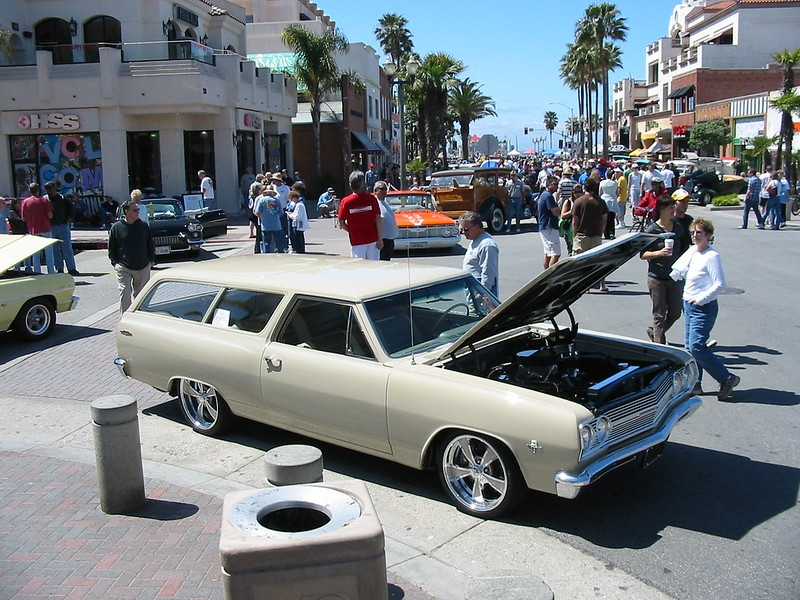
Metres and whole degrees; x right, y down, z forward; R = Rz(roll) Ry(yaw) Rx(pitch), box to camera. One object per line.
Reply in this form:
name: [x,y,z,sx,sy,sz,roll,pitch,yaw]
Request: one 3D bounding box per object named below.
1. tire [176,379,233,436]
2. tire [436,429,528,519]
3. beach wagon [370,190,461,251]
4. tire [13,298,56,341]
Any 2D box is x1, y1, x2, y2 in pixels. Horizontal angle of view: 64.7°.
tire: [-2.079,1.144,6.741,0.593,0.647,0.217,4,9,35]
tire: [0.685,1.407,5.125,0.712,0.777,0.263,4,10,33]
beach wagon: [0.620,-2.196,17.747,1.606,1.266,2.919,-4,14,-7]
tire: [-6.112,0.328,10.659,0.641,0.697,0.250,0,-4,4]
